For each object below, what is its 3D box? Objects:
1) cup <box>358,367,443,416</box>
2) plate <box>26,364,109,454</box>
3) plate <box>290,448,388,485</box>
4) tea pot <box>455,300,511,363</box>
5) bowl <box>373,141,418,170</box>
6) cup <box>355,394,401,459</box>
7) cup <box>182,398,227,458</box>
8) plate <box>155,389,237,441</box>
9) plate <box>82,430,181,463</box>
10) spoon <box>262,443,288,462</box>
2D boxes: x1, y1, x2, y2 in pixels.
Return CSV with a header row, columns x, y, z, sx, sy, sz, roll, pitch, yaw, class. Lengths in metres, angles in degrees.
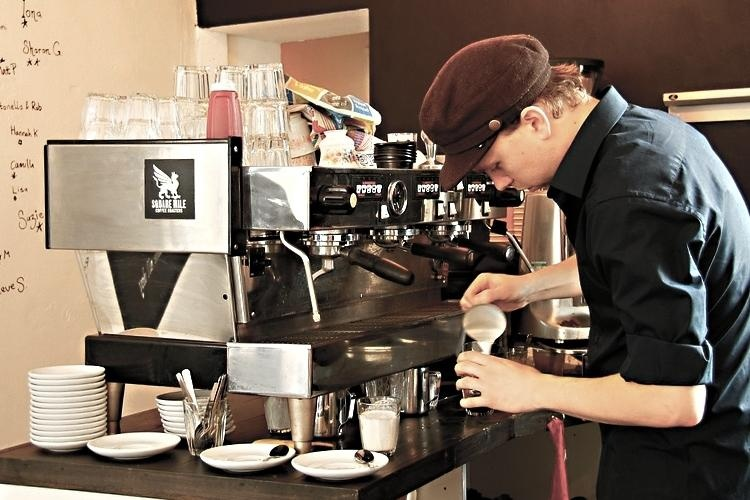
x,y,z,sx,sy,sz,roll,pitch,yaw,class
0.092,0.496,2.467,0.258,0.169,0.158,-2,0,-21,cup
-0.965,0.480,2.122,0.240,0.243,0.249,1,-2,-34,plate
-0.106,0.610,1.929,0.263,0.051,0.192,3,9,11,plate
0.344,0.262,2.214,0.148,0.168,0.180,-4,-11,6,tea pot
0.067,-0.348,2.489,0.114,0.076,0.121,0,4,0,bowl
0.011,0.534,2.051,0.152,0.169,0.151,-1,-4,0,cup
-0.513,0.530,2.023,0.161,0.180,0.154,0,-3,0,cup
-0.600,0.502,2.195,0.188,0.121,0.213,0,-2,-45,plate
-0.736,0.596,2.049,0.263,0.055,0.185,-3,10,-24,plate
-0.291,0.592,1.965,0.057,0.009,0.029,-20,23,-20,spoon
